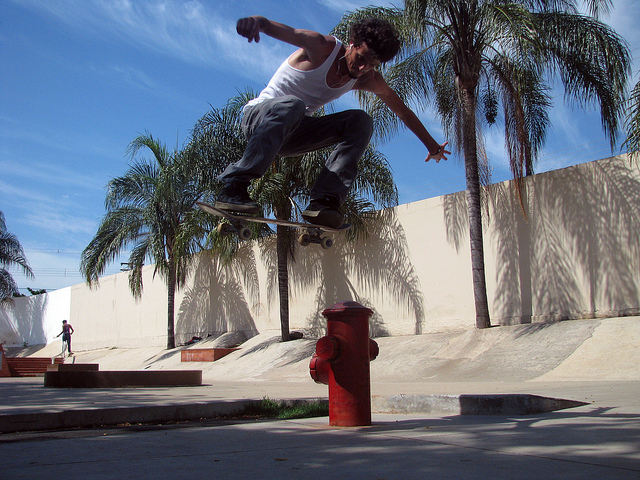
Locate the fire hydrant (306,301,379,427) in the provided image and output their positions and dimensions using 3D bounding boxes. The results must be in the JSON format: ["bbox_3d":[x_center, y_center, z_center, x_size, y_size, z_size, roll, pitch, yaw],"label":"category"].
[{"bbox_3d":[0.194,1.002,4.789,0.433,1.068,0.532,1,-3,-8],"label":"fire hydrant"}]

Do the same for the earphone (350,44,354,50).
[{"bbox_3d":[0.288,-1.729,5.215,0.014,0.064,0.017,15,31,-3],"label":"earphone"}]
